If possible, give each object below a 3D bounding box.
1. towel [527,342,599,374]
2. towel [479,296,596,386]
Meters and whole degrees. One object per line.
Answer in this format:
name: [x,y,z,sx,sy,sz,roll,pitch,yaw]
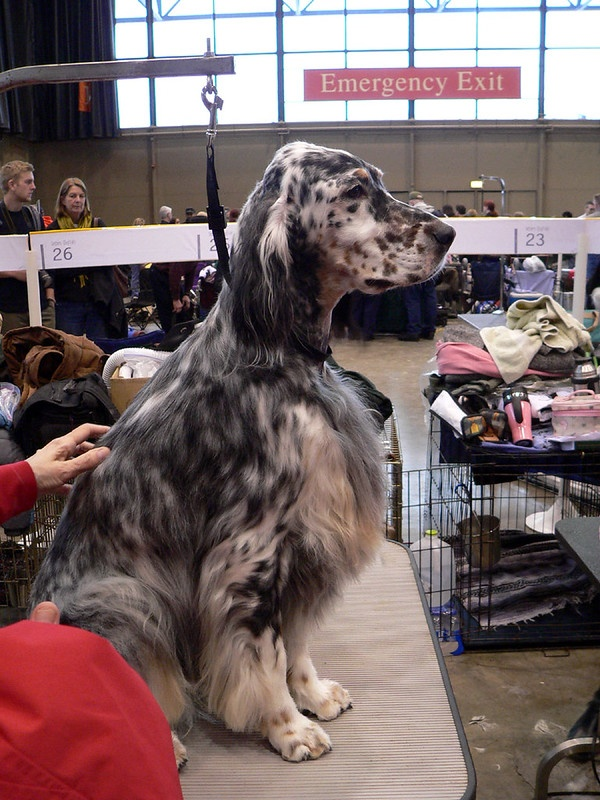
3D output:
towel: [1.278,-0.189,3.343,0.257,0.135,0.075,0,11,-9]
towel: [1.185,-0.330,3.419,0.527,0.260,0.528,-11,12,-8]
